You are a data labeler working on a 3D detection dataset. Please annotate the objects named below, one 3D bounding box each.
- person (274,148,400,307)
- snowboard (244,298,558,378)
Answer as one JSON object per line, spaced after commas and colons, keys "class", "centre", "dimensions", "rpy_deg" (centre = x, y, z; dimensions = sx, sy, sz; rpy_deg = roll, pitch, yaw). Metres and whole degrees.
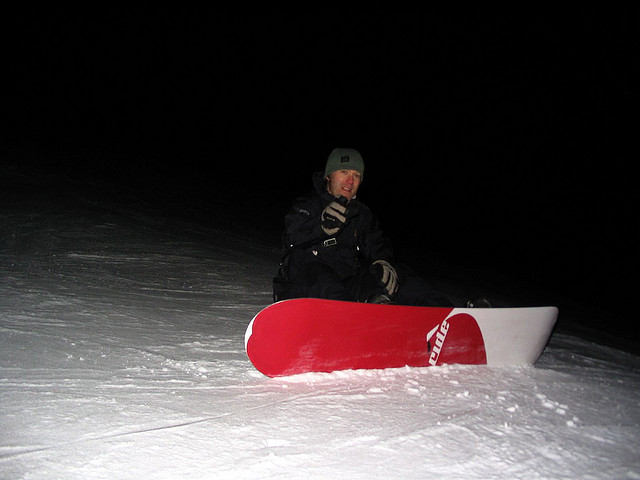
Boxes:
{"class": "person", "centre": [0.115, 0.071, 3.951], "dimensions": [0.908, 1.489, 0.926], "rpy_deg": [-3, -13, 6]}
{"class": "snowboard", "centre": [0.774, 0.690, 3.699], "dimensions": [2.547, 0.651, 0.374], "rpy_deg": [4, -20, -24]}
